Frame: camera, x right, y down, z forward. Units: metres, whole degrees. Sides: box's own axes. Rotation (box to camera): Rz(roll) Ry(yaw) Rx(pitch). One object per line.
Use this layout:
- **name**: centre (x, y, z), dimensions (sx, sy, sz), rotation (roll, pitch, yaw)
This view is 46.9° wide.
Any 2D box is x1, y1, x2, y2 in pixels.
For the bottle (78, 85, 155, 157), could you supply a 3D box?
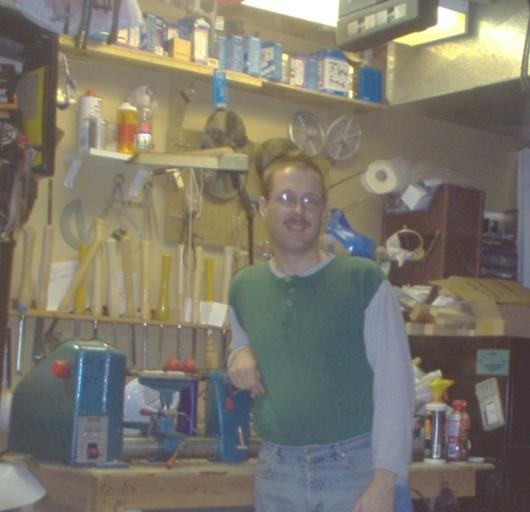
- **bottle**: centre (-0.802, -0.710, 3.249), dimensions (0.406, 0.444, 0.201), rotation (1, -2, -30)
